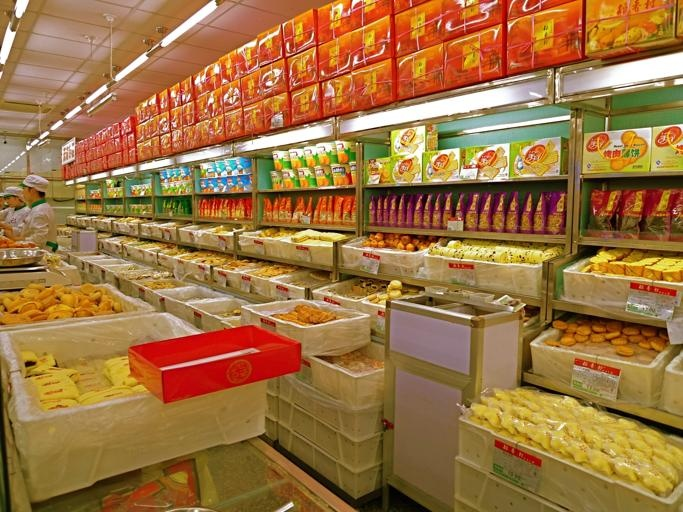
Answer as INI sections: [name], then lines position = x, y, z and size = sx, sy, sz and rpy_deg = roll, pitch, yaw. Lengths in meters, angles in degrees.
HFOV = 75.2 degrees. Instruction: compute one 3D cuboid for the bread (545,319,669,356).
[bread]
position = 1.417, 0.425, 2.366
size = 0.535, 0.101, 0.403
rpy_deg = 2, 7, 33
